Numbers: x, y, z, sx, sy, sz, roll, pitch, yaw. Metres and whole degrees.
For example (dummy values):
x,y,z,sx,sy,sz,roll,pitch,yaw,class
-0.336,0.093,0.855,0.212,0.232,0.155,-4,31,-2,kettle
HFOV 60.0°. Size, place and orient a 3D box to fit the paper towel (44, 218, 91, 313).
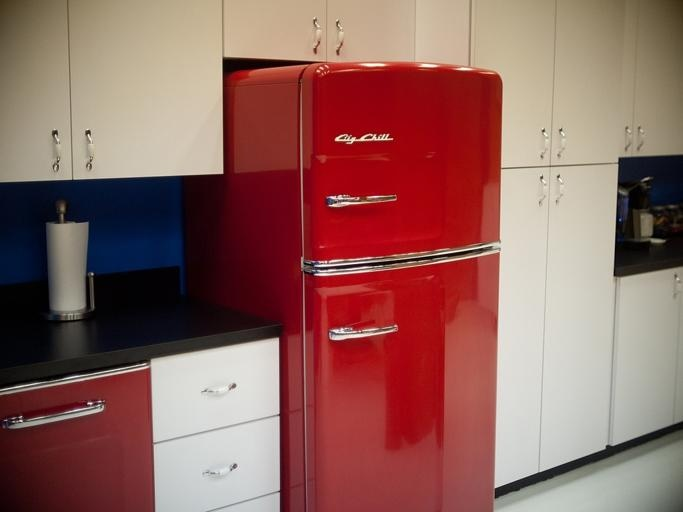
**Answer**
x,y,z,sx,sy,sz,roll,pitch,yaw,class
-1.012,0.036,2.176,0.143,0.329,0.130,-5,14,-28,paper towel
